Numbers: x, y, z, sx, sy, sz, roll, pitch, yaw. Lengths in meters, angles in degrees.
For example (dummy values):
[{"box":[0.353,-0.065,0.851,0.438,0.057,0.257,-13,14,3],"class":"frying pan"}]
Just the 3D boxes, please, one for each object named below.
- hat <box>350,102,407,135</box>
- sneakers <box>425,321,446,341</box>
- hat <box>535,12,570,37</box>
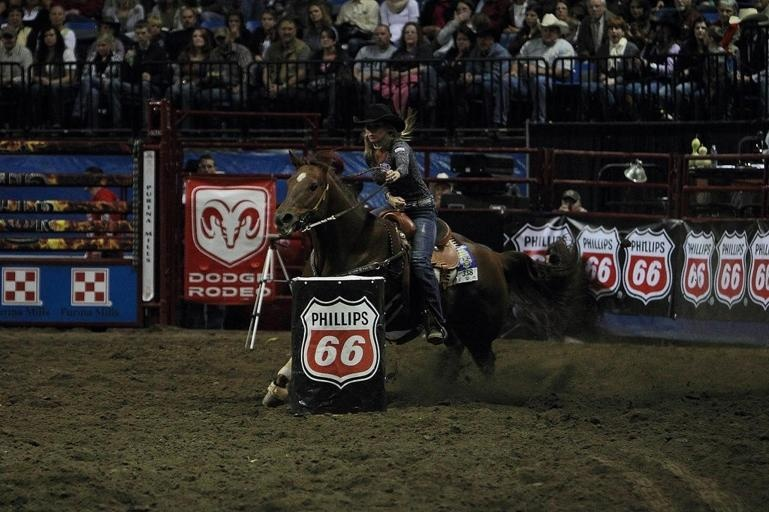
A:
[{"box":[-0.025,-1.915,17.500,0.608,0.400,0.421,-1,3,-1],"class":"hat"},{"box":[0.706,1.086,17.675,0.298,0.322,0.297,-1,3,1],"class":"sneakers"},{"box":[3.355,-4.507,24.410,0.392,0.188,0.494,-5,-27,40],"class":"hat"}]
